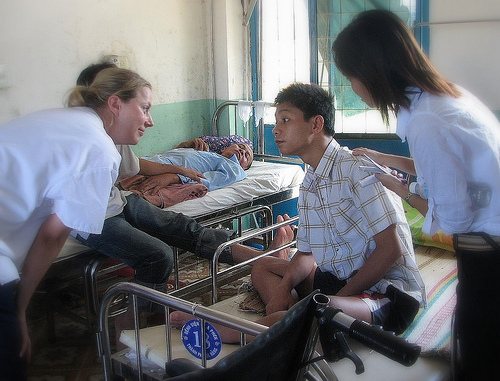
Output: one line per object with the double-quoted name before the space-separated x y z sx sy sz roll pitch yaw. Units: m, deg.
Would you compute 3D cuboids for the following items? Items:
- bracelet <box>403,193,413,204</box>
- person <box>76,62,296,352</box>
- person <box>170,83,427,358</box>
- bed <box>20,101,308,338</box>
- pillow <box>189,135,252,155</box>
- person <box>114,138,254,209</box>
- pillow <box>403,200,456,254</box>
"bracelet" 0.672 0.030 1.634 0.010 0.034 0.037 33 30 13
"person" -0.585 0.050 2.801 1.572 1.534 0.606 9 21 -27
"person" 0.336 0.128 2.137 1.386 1.354 1.057 3 -4 -39
"bed" -0.626 0.305 2.774 1.948 0.844 0.995 -17 28 -42
"pillow" -0.258 -0.564 4.407 0.424 0.147 0.285 -12 6 -17
"person" -0.596 -0.262 4.051 1.623 0.447 1.255 -6 18 -39
"pillow" 1.415 0.318 3.078 0.502 0.114 0.498 3 17 34
